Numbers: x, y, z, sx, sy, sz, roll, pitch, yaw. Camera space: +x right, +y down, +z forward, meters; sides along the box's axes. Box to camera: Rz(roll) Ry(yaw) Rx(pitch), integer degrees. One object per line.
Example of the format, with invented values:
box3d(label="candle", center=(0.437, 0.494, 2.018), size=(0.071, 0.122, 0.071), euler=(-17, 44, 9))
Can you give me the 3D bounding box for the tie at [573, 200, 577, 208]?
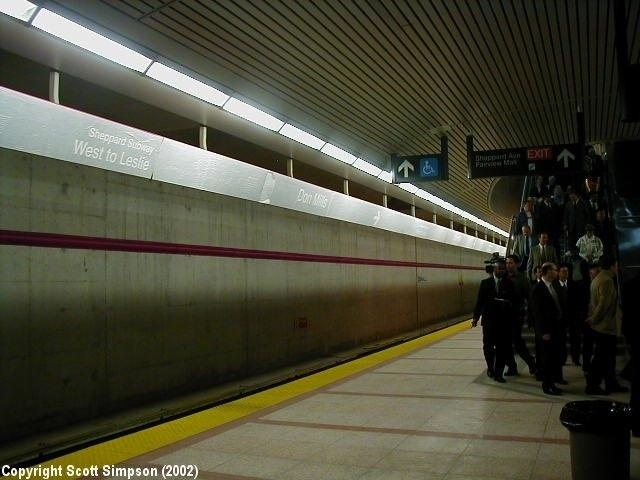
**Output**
box3d(label="tie", center=(4.812, -0.709, 8.319), size=(0.065, 0.081, 0.090), euler=(-2, -7, 14))
